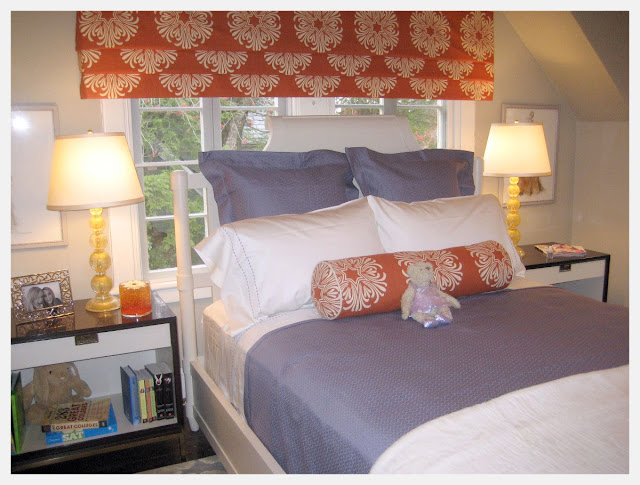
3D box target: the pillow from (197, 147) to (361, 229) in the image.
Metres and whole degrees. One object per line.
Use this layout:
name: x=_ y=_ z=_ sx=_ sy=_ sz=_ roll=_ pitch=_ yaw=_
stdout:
pillow: x=-0.155 y=-0.393 z=2.897 sx=0.881 sy=0.276 sz=1.194 roll=-8 pitch=-9 yaw=-3

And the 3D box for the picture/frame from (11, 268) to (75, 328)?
picture/frame: x=-1.321 y=0.253 z=2.272 sx=0.014 sy=0.212 sz=0.263 roll=-3 pitch=3 yaw=34

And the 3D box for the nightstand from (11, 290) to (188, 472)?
nightstand: x=-1.090 y=0.683 z=2.335 sx=0.894 sy=0.790 sz=0.524 roll=-4 pitch=10 yaw=-26

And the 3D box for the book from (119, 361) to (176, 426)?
book: x=-0.937 y=0.717 z=2.548 sx=0.256 sy=0.322 sz=0.336 roll=-4 pitch=7 yaw=-25

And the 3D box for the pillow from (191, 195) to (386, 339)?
pillow: x=-0.185 y=0.074 z=2.160 sx=0.937 sy=0.519 sz=0.245 roll=-15 pitch=8 yaw=-20

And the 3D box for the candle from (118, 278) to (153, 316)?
candle: x=-0.928 y=0.280 z=2.400 sx=0.149 sy=0.147 sz=0.145 roll=4 pitch=10 yaw=11

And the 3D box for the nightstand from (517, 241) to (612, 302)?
nightstand: x=1.670 y=0.334 z=3.459 sx=0.596 sy=0.537 sz=0.396 roll=-6 pitch=15 yaw=0

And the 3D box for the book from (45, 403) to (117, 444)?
book: x=-1.238 y=0.874 z=2.401 sx=0.322 sy=0.064 sz=0.315 roll=3 pitch=3 yaw=-34

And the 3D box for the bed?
bed: x=0.191 y=0.269 z=2.017 sx=1.555 sy=1.126 sz=1.534 roll=-6 pitch=7 yaw=-25

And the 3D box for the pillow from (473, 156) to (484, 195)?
pillow: x=1.041 y=-0.450 z=3.212 sx=0.052 sy=0.204 sz=0.196 roll=-1 pitch=-5 yaw=32

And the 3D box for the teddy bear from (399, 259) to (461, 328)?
teddy bear: x=0.429 y=0.210 z=1.966 sx=0.221 sy=0.250 sz=0.229 roll=-16 pitch=15 yaw=-39

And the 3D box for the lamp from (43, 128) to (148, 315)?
lamp: x=-1.132 y=-0.102 z=2.375 sx=0.463 sy=0.904 sz=0.378 roll=1 pitch=9 yaw=41

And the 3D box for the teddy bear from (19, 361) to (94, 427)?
teddy bear: x=-1.356 y=0.718 z=2.433 sx=0.326 sy=0.340 sz=0.199 roll=-5 pitch=16 yaw=-42
